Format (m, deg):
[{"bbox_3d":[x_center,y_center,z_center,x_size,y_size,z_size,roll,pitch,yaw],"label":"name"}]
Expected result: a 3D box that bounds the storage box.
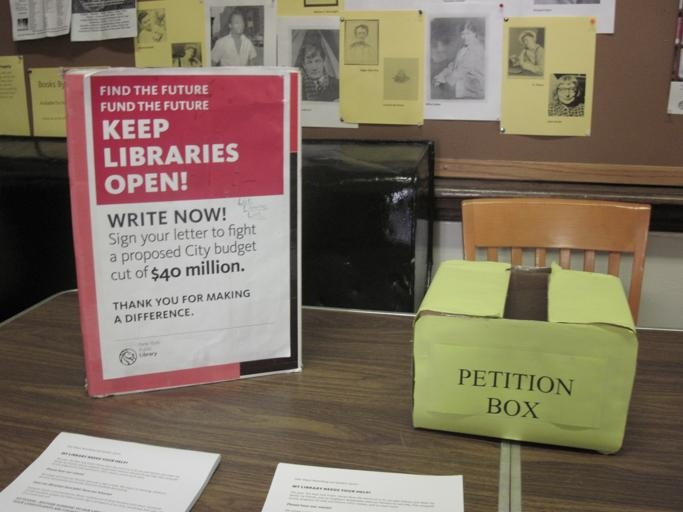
[{"bbox_3d":[0.306,0.175,1.116,0.363,0.290,0.283,4,23,16],"label":"storage box"}]
